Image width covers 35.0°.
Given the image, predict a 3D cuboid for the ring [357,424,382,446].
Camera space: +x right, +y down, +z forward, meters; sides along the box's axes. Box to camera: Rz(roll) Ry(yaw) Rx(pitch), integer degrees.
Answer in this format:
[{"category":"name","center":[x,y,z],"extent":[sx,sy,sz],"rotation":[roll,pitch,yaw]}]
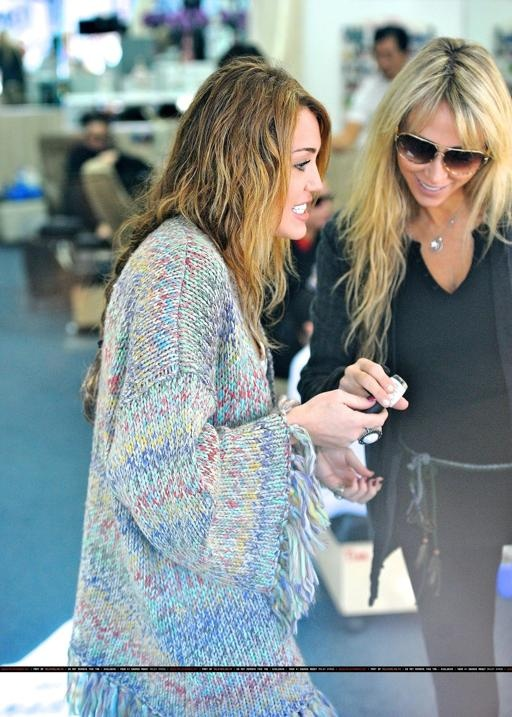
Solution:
[{"category":"ring","center":[0.158,0.106,1.142],"extent":[0.039,0.037,0.010],"rotation":[-20,58,4]}]

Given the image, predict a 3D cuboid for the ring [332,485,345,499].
[{"category":"ring","center":[0.124,0.201,1.223],"extent":[0.015,0.023,0.020],"rotation":[6,6,41]}]

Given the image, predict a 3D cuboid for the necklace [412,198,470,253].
[{"category":"necklace","center":[0.293,-0.205,1.281],"extent":[0.091,0.082,0.025],"rotation":[-7,-3,42]}]

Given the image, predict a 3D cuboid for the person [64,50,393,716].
[{"category":"person","center":[-0.044,0.046,1.122],"extent":[0.442,0.862,0.447],"rotation":[2,23,8]}]
